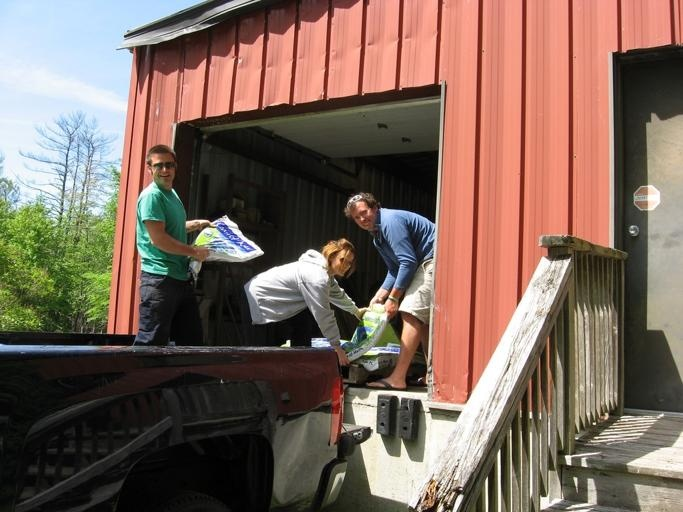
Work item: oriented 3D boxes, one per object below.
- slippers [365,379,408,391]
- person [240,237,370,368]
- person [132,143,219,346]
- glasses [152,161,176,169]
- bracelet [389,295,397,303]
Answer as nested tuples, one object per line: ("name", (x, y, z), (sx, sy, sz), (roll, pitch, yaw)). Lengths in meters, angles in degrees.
("slippers", (0.391, 1.112, 4.969), (0.294, 0.080, 0.135), (5, -8, 13))
("person", (-0.425, 0.448, 5.678), (0.961, 0.798, 1.325), (5, -47, -13))
("person", (-1.340, -0.075, 4.522), (0.542, 1.580, 0.618), (2, -3, -20))
("glasses", (-1.394, -0.707, 4.494), (0.173, 0.071, 0.080), (3, -3, -25))
("bracelet", (0.451, 0.371, 5.043), (0.083, 0.059, 0.081), (1, -3, 3))
